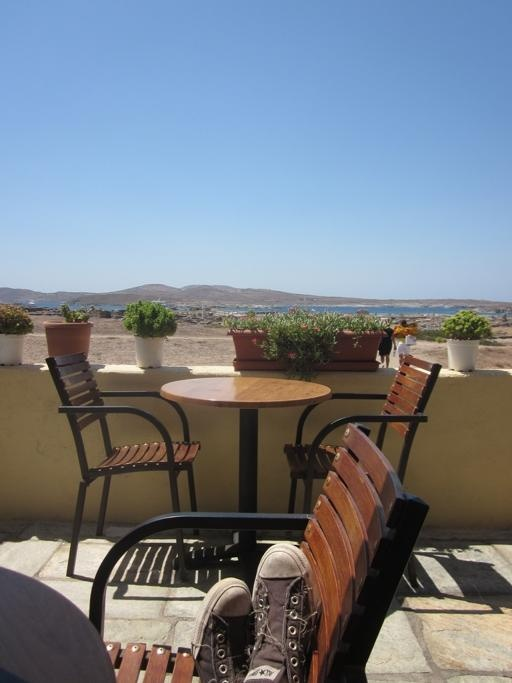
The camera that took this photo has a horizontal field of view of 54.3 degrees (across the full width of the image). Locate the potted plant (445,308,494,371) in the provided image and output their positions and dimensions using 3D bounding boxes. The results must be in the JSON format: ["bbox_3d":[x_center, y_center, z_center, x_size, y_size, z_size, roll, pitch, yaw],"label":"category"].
[{"bbox_3d":[1.376,-0.015,3.227,0.312,0.367,0.247,-5,12,-30],"label":"potted plant"}]
